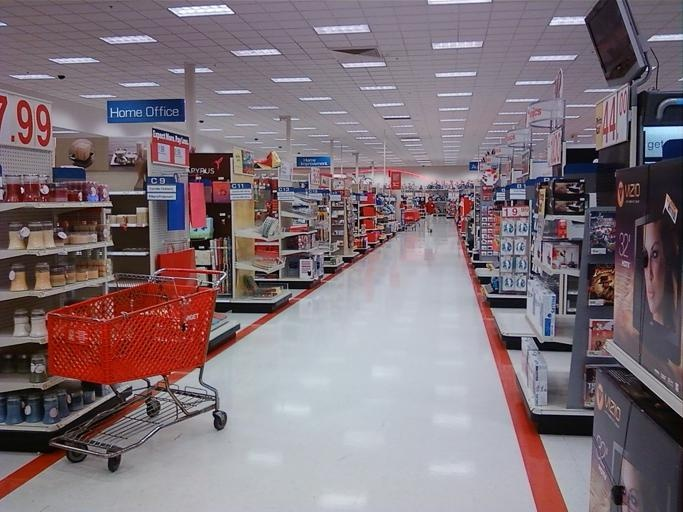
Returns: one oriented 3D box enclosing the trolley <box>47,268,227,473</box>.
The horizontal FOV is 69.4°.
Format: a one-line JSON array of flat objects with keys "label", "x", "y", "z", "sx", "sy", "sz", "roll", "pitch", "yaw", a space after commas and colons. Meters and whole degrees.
[{"label": "trolley", "x": -1.511, "y": 0.774, "z": 3.871, "sx": 1.127, "sy": 1.271, "sz": 1.456, "roll": -1, "pitch": 5, "yaw": -3}]
